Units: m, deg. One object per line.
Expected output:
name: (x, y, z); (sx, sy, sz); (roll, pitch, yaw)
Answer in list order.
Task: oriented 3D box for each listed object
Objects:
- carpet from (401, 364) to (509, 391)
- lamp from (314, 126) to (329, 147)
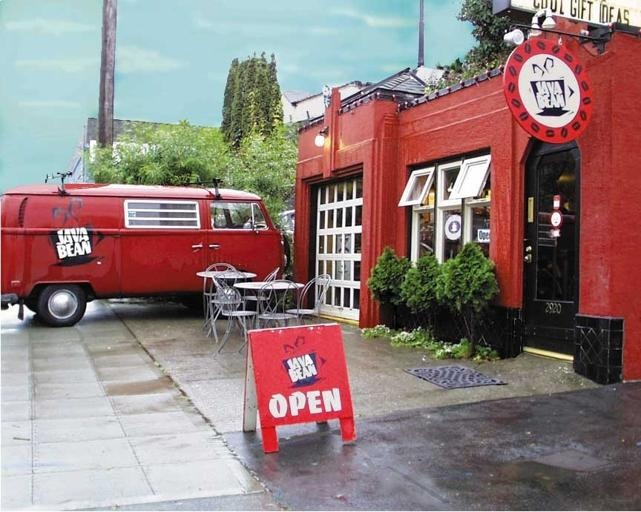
carpet: (1.756, 1.586, 7.302); (0.984, 0.035, 1.056); (-1, 4, -16)
lamp: (0.011, -2.721, 12.619); (0.267, 0.419, 0.468); (0, 4, -9)
